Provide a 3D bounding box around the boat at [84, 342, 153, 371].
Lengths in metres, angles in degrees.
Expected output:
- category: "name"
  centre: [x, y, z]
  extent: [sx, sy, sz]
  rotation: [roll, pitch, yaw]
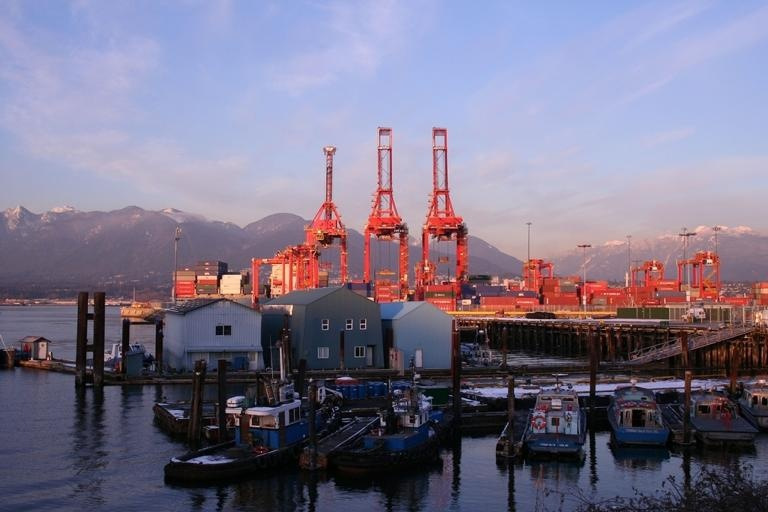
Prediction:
- category: "boat"
  centre: [-23.755, 9.154, 92.010]
  extent: [3.390, 1.732, 5.199]
  rotation: [1, -5, -31]
